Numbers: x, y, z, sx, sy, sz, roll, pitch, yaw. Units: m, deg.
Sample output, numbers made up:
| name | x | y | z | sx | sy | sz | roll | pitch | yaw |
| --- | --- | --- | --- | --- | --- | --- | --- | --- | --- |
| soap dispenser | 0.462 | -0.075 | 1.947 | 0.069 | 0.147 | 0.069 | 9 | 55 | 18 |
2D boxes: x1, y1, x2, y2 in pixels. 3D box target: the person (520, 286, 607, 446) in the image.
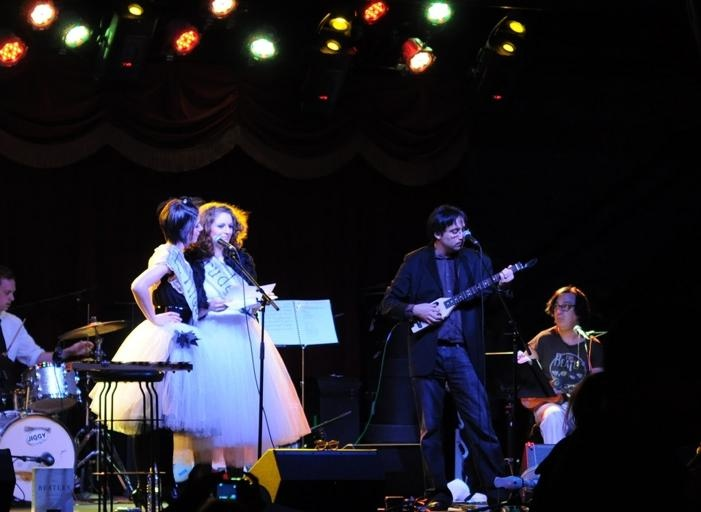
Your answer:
| name | x | y | z | sx | sy | sz | roll | pitch | yaw |
| --- | --- | --- | --- | --- | --- | --- | --- | --- | --- |
| person | 1.725 | 0.852 | 6.136 | 0.690 | 1.404 | 0.909 | -5 | -18 | 12 |

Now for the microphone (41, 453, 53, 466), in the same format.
| name | x | y | z | sx | sy | sz | roll | pitch | yaw |
| --- | --- | --- | --- | --- | --- | --- | --- | --- | --- |
| microphone | -2.435 | 1.637 | 6.001 | 0.090 | 0.100 | 0.074 | 2 | -18 | -11 |

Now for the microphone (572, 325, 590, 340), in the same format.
| name | x | y | z | sx | sy | sz | roll | pitch | yaw |
| --- | --- | --- | --- | --- | --- | --- | --- | --- | --- |
| microphone | 1.979 | 0.650 | 6.350 | 0.119 | 0.119 | 0.045 | -40 | -19 | -40 |

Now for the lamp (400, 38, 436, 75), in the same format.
| name | x | y | z | sx | sy | sz | roll | pitch | yaw |
| --- | --- | --- | --- | --- | --- | --- | --- | --- | --- |
| lamp | 0.652 | -1.913 | 7.144 | 0.309 | 0.228 | 0.257 | -6 | -19 | 13 |

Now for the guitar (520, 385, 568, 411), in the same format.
| name | x | y | z | sx | sy | sz | roll | pitch | yaw |
| --- | --- | --- | --- | --- | --- | --- | --- | --- | --- |
| guitar | 1.583 | 1.200 | 6.109 | 0.303 | 0.176 | 0.232 | 7 | 3 | -10 |

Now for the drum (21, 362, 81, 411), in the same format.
| name | x | y | z | sx | sy | sz | roll | pitch | yaw |
| --- | --- | --- | --- | --- | --- | --- | --- | --- | --- |
| drum | -2.574 | 1.153 | 6.302 | 0.556 | 0.396 | 0.546 | -4 | -20 | -1 |

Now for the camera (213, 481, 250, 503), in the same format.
| name | x | y | z | sx | sy | sz | roll | pitch | yaw |
| --- | --- | --- | --- | --- | --- | --- | --- | --- | --- |
| camera | -0.538 | 1.030 | 3.267 | 0.137 | 0.090 | 0.067 | -3 | -18 | 5 |

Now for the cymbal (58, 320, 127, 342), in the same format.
| name | x | y | z | sx | sy | sz | roll | pitch | yaw |
| --- | --- | --- | --- | --- | --- | --- | --- | --- | --- |
| cymbal | -2.229 | 0.660 | 6.592 | 0.351 | 0.083 | 0.358 | -23 | -14 | 24 |

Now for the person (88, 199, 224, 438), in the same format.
| name | x | y | z | sx | sy | sz | roll | pitch | yaw |
| --- | --- | --- | --- | --- | --- | --- | --- | --- | --- |
| person | -1.373 | 0.341 | 5.121 | 0.660 | 1.704 | 0.713 | 0 | -17 | -2 |

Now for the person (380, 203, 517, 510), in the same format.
| name | x | y | z | sx | sy | sz | roll | pitch | yaw |
| --- | --- | --- | --- | --- | --- | --- | --- | --- | --- |
| person | 0.690 | 0.730 | 5.556 | 0.800 | 2.199 | 0.432 | -4 | -17 | 11 |
